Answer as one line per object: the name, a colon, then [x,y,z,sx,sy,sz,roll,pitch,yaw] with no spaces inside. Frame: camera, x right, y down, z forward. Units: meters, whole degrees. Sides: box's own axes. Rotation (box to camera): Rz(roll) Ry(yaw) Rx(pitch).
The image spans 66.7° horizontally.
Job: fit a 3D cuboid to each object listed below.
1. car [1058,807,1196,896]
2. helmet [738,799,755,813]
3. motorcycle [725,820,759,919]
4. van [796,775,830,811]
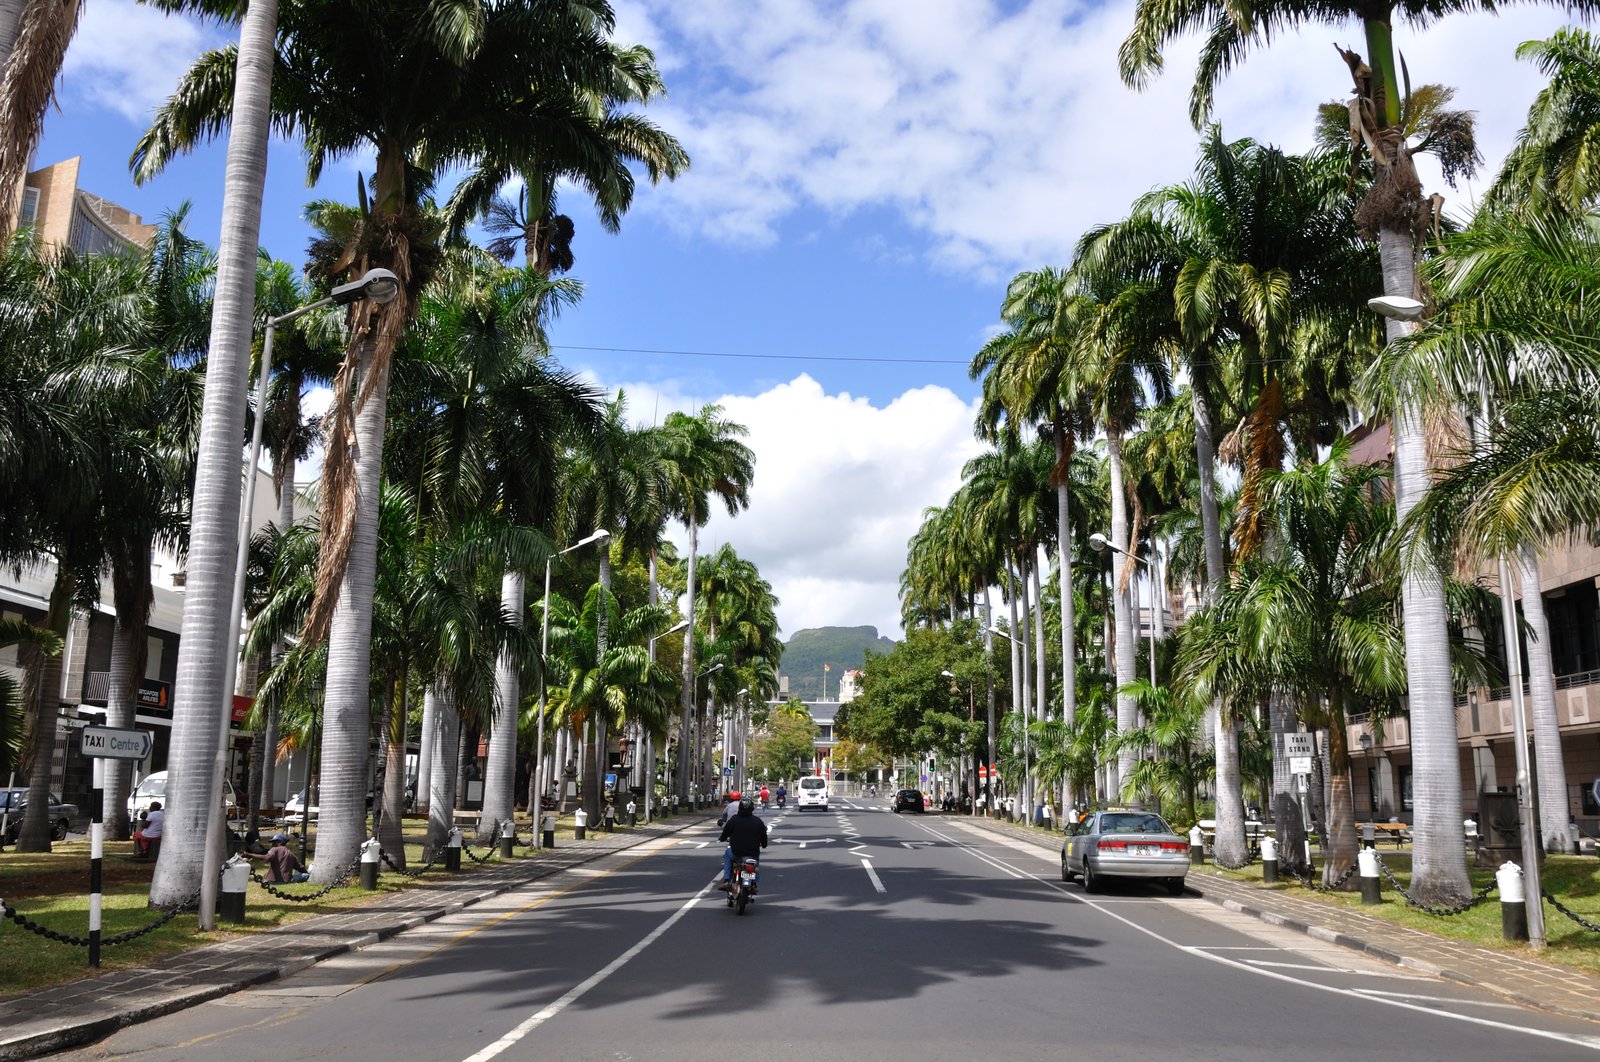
car: [8.286,8.121,30.750,2.354,2.068,2.502,-1,-17,0]
helmet: [-1.169,5.891,25.933,0.213,0.317,0.309,1,-3,2]
motorcycle: [-1.212,7.295,25.340,0.620,1.322,1.131,1,-16,-4]
van: [0.998,19.435,89.250,1.593,1.835,3.068,0,-8,1]
